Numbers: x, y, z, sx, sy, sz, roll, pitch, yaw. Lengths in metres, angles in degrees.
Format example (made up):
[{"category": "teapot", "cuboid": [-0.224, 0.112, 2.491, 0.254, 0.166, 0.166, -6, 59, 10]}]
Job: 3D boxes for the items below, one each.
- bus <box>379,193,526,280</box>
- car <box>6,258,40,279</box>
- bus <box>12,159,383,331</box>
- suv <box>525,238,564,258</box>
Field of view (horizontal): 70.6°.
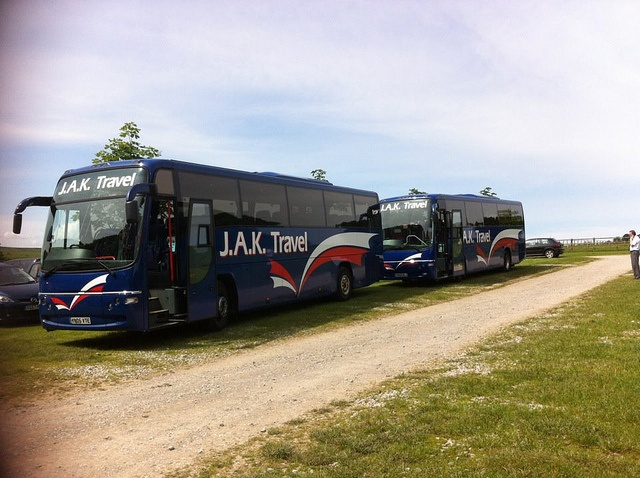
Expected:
[{"category": "bus", "cuboid": [8.446, -0.308, 29.976, 4.971, 5.732, 16.107, -2, -1, 37]}, {"category": "car", "cuboid": [-11.376, 1.112, 17.376, 1.504, 0.815, 0.904, -2, -1, 32]}, {"category": "bus", "cuboid": [-3.193, 0.170, 15.503, 4.139, 4.631, 15.063, -3, -4, 29]}, {"category": "suv", "cuboid": [21.448, 0.762, 43.236, 3.139, 1.515, 1.791, 3, 3, 21]}]
